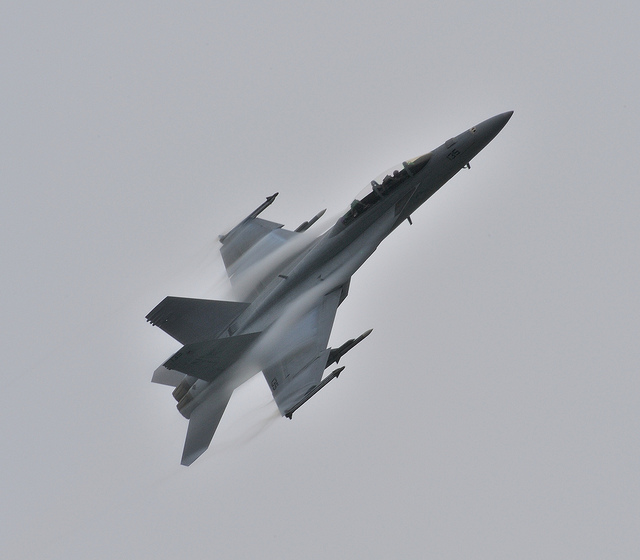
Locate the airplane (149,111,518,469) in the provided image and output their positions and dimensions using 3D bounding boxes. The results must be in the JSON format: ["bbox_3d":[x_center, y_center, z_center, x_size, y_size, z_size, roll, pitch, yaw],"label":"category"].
[{"bbox_3d":[-0.102,-0.091,21.554,7.913,5.109,1.839,-36,-40,8],"label":"airplane"}]
